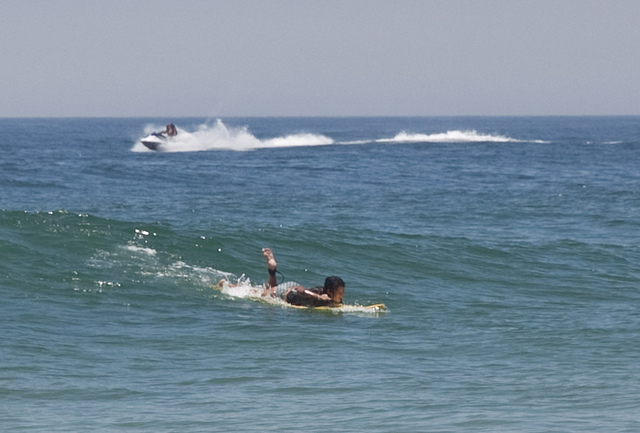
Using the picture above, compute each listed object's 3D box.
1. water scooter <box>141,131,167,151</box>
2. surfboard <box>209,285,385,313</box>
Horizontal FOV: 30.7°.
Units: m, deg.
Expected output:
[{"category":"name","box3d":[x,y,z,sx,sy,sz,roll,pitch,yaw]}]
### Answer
[{"category":"water scooter","box3d":[-13.233,-5.956,92.726,2.022,1.409,1.412,0,6,-7]},{"category":"surfboard","box3d":[-0.980,2.743,38.606,5.695,0.631,0.979,2,6,10]}]
